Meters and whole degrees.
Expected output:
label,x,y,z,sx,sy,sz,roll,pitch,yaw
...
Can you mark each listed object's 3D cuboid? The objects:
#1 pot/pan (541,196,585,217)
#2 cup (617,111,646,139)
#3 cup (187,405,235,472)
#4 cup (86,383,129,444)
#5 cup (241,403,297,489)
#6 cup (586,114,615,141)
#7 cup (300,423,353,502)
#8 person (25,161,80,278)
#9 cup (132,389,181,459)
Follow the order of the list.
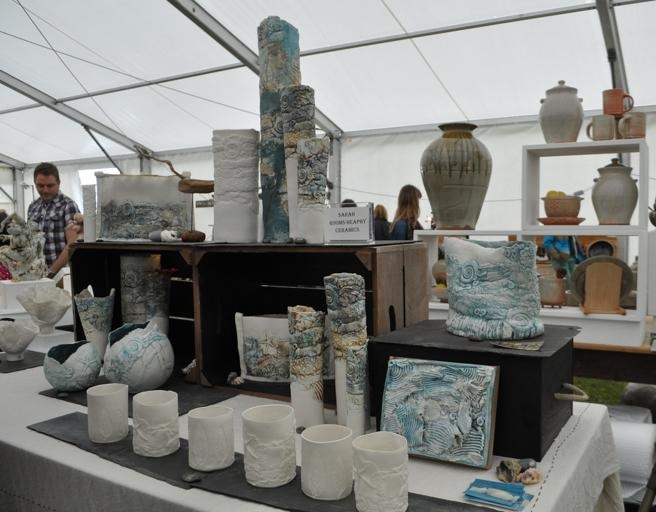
label,x,y,z,sx,sy,sz,roll,pitch,yaw
pot/pan,1.308,-0.270,3.089,0.142,0.074,0.141,0,-1,-42
cup,1.646,-0.702,2.974,0.171,0.156,0.105,-3,5,-24
cup,-0.326,0.526,1.616,0.141,0.173,0.151,0,0,0
cup,-0.684,0.494,1.740,0.147,0.155,0.115,-4,4,-40
cup,-0.157,0.530,1.554,0.144,0.190,0.189,-3,1,29
cup,1.485,-0.693,2.991,0.134,0.139,0.122,4,12,25
cup,-0.005,0.559,1.512,0.150,0.179,0.158,0,0,0
person,-2.084,-0.309,4.251,0.272,0.800,0.949,-12,15,-43
cup,-0.520,0.505,1.678,0.147,0.171,0.147,-1,2,0
